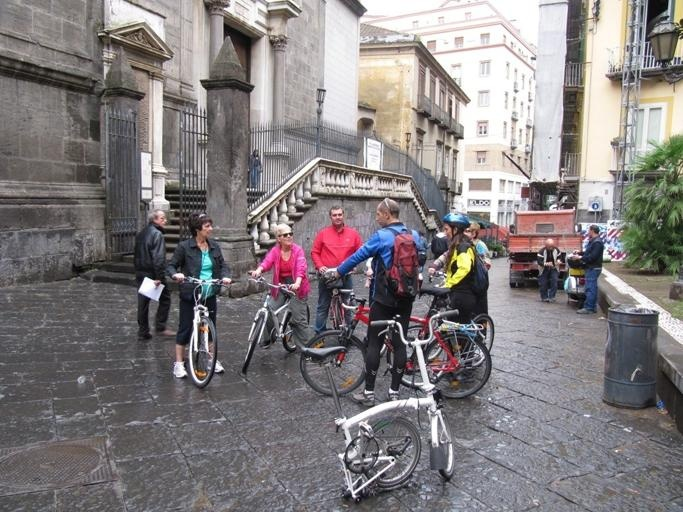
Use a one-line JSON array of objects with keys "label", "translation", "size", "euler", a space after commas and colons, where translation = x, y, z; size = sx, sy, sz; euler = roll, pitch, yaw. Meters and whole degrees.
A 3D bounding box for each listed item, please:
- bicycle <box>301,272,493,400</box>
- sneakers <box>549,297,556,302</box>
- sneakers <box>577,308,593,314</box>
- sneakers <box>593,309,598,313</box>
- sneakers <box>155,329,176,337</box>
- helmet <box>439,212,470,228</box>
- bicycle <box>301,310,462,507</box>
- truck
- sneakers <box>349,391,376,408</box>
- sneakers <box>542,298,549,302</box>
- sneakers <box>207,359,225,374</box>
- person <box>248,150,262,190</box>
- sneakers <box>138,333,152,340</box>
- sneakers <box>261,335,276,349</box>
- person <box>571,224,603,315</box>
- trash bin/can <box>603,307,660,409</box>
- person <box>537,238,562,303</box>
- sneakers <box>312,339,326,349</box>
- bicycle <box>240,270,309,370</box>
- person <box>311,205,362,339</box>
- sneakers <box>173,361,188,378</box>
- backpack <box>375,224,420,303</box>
[{"label": "bicycle", "translation": [0.672, 0.962, 7.410], "size": [2.243, 1.594, 1.231], "euler": [4, 1, -3]}, {"label": "sneakers", "translation": [5.128, 1.015, 14.402], "size": [0.079, 0.102, 0.216], "euler": [0, 9, 13]}, {"label": "sneakers", "translation": [5.244, 1.147, 12.733], "size": [0.326, 0.176, 0.129], "euler": [5, 3, 20]}, {"label": "sneakers", "translation": [5.478, 1.152, 12.784], "size": [0.077, 0.092, 0.151], "euler": [8, 6, 8]}, {"label": "sneakers", "translation": [-2.660, 1.121, 8.981], "size": [0.294, 0.150, 0.118], "euler": [0, 5, -1]}, {"label": "helmet", "translation": [1.521, -0.488, 7.871], "size": [0.279, 0.183, 0.229], "euler": [4, 4, 27]}, {"label": "bicycle", "translation": [0.346, 1.299, 5.733], "size": [1.275, 1.369, 1.387], "euler": [-1, 12, -11]}, {"label": "truck", "translation": [6.222, -0.355, 18.518], "size": [1.700, 2.231, 3.293], "euler": [0, 7, 12]}, {"label": "sneakers", "translation": [0.244, 1.590, 6.823], "size": [0.319, 0.185, 0.122], "euler": [9, 9, 40]}, {"label": "sneakers", "translation": [4.938, 1.009, 14.328], "size": [0.188, 0.073, 0.245], "euler": [6, 13, 19]}, {"label": "sneakers", "translation": [-1.544, 1.362, 7.387], "size": [0.100, 0.138, 0.301], "euler": [-2, 0, -32]}, {"label": "person", "translation": [-2.037, -2.021, 13.982], "size": [0.281, 0.809, 0.623], "euler": [-1, 12, -9]}, {"label": "sneakers", "translation": [-2.888, 1.152, 8.691], "size": [0.184, 0.093, 0.070], "euler": [-2, 12, -25]}, {"label": "sneakers", "translation": [-1.018, 1.155, 8.232], "size": [0.187, 0.162, 0.275], "euler": [5, -10, -25]}, {"label": "person", "translation": [5.344, 0.232, 12.710], "size": [0.393, 1.845, 0.721], "euler": [6, 12, 23]}, {"label": "trash bin/can", "translation": [3.532, 1.170, 7.227], "size": [0.581, 1.185, 0.615], "euler": [5, 7, 44]}, {"label": "person", "translation": [5.113, 0.331, 14.667], "size": [0.492, 1.326, 1.184], "euler": [5, 12, 19]}, {"label": "sneakers", "translation": [-0.272, 1.026, 7.075], "size": [0.124, 0.148, 0.082], "euler": [0, 2, 12]}, {"label": "bicycle", "translation": [-0.875, 0.875, 8.106], "size": [0.570, 1.113, 1.644], "euler": [12, 7, 23]}, {"label": "person", "translation": [-0.055, 0.355, 9.253], "size": [0.762, 2.280, 0.746], "euler": [0, 15, 2]}, {"label": "sneakers", "translation": [-2.024, 1.406, 7.418], "size": [0.100, 0.126, 0.246], "euler": [-4, -1, -32]}, {"label": "backpack", "translation": [0.640, 0.068, 6.541], "size": [0.400, 0.778, 0.461], "euler": [-2, -3, 40]}]
